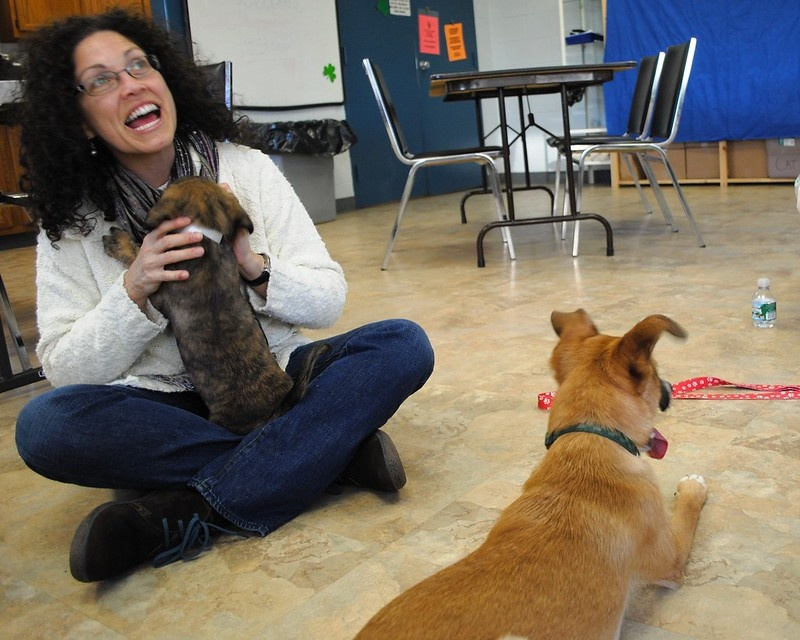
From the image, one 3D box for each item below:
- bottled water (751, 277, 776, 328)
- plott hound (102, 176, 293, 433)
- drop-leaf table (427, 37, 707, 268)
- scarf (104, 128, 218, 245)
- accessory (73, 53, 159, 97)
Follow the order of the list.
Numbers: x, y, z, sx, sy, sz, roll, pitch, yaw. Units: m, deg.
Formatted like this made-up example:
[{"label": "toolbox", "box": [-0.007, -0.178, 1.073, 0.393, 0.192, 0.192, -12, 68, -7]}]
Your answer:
[{"label": "bottled water", "box": [1.523, -0.080, 2.479, 0.089, 0.181, 0.223, 4, 18, 30]}, {"label": "plott hound", "box": [-0.462, -0.038, 1.507, 0.278, 0.527, 0.360, -18, -25, 2]}, {"label": "drop-leaf table", "box": [1.185, -1.269, 4.705, 2.286, 1.314, 2.097, 2, 14, 36]}, {"label": "scarf", "box": [-0.612, -0.360, 1.637, 0.288, 0.295, 0.229, -5, 17, -9]}, {"label": "accessory", "box": [-0.712, -0.607, 1.483, 0.185, 0.092, 0.056, -10, 17, -19]}]
